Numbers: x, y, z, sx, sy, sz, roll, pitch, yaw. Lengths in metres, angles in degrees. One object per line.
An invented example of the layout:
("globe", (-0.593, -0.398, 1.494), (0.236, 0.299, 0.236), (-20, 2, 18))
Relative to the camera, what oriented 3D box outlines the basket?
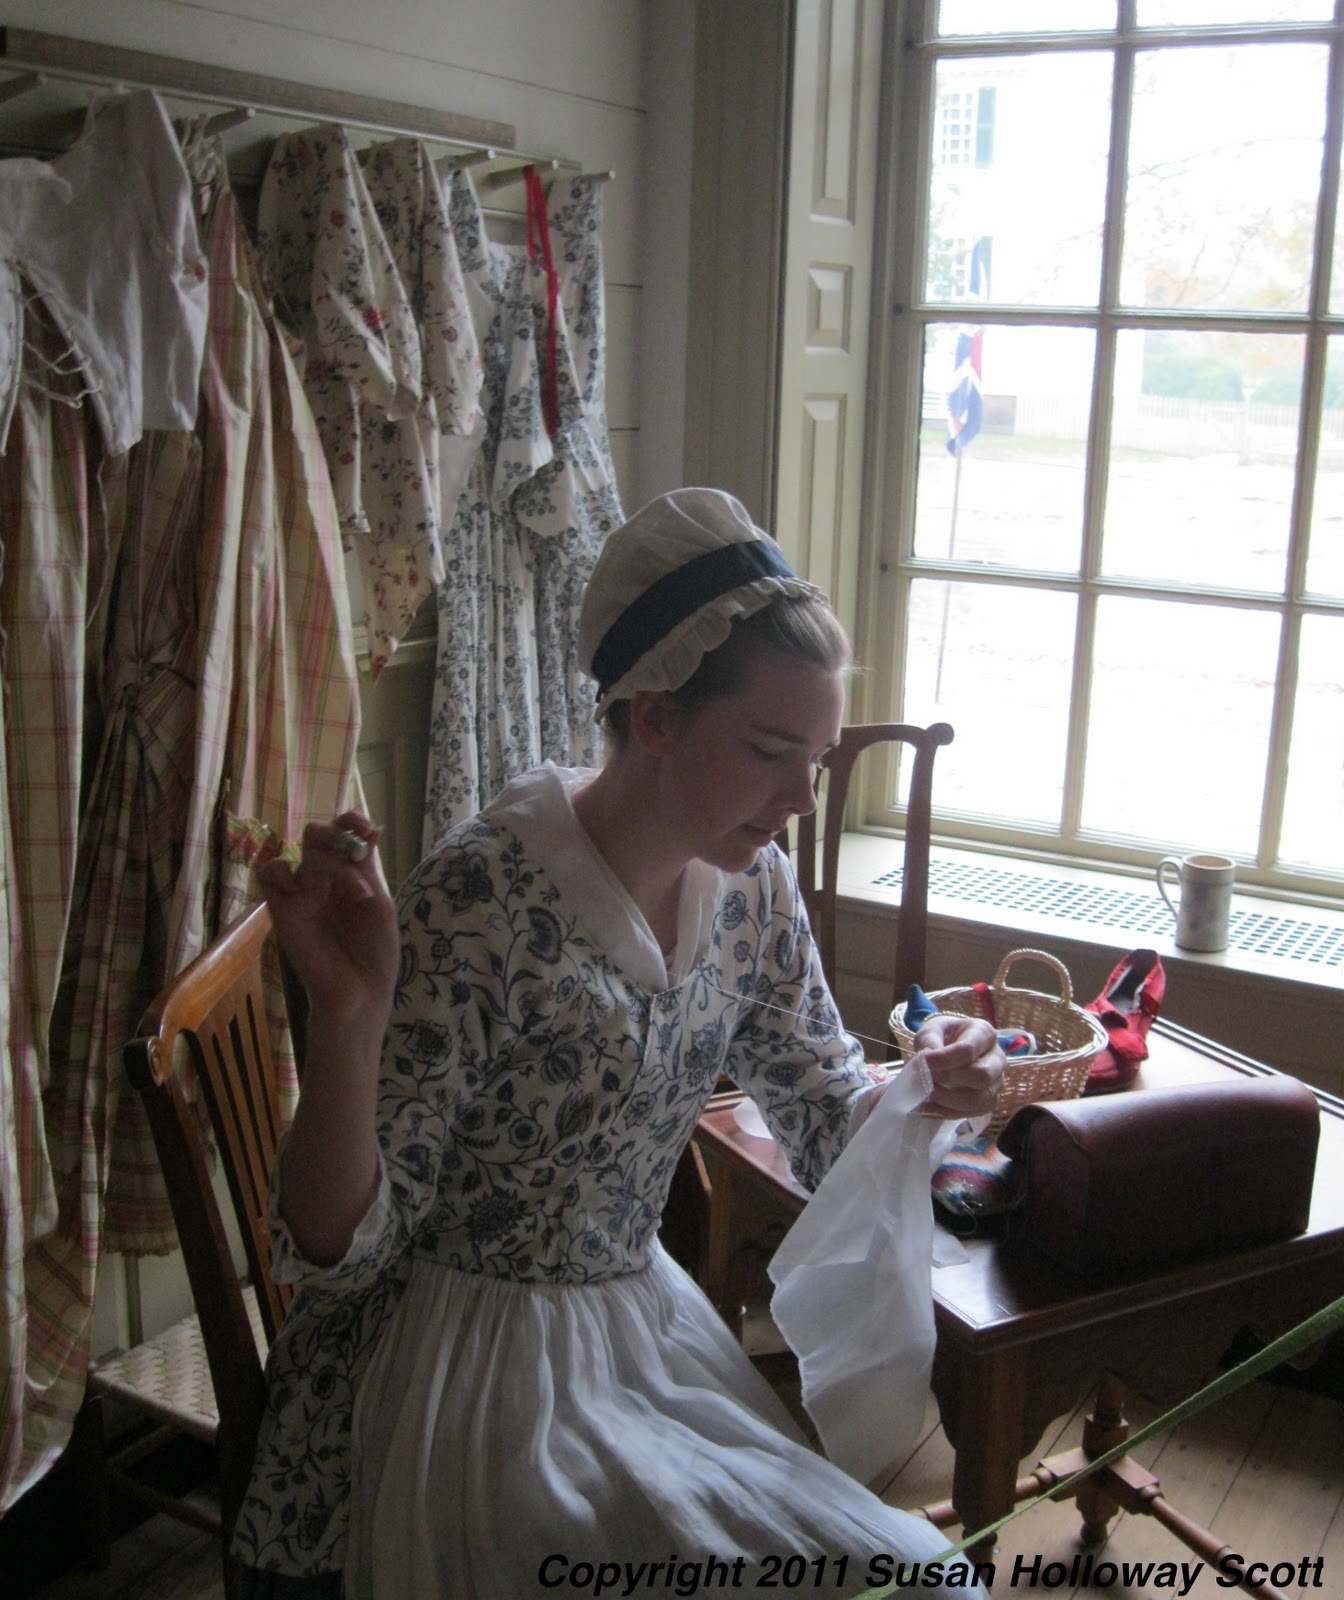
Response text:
("basket", (0.395, 0.248, 1.531), (0.199, 0.148, 0.206), (4, 17, 13))
